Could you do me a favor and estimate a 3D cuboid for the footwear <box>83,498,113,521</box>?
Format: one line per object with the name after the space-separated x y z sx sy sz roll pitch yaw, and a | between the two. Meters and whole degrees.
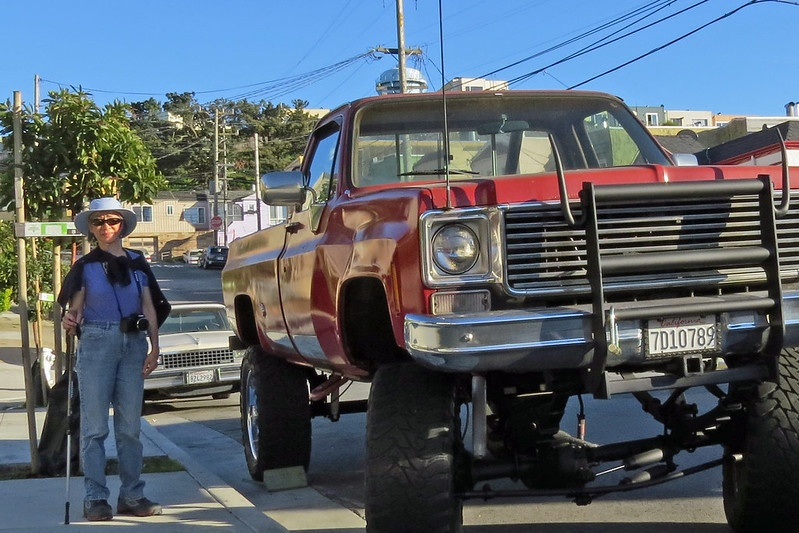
-2.443 1.985 7.654 0.120 0.129 0.290 2 3 -37 | footwear

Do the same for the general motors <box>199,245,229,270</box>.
-9.817 -0.494 49.746 1.405 1.190 2.973 0 4 -16 | general motors

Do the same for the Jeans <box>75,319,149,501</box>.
-2.347 1.190 7.758 0.564 1.435 0.306 -2 1 -17 | Jeans

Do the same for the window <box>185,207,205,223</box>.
-16.707 -4.310 76.771 1.339 0.956 0.123 2 -6 -28 | window

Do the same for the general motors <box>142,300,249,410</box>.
-3.037 1.259 14.186 1.307 1.054 2.318 0 -6 -18 | general motors

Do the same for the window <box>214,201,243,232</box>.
-12.262 -3.669 68.126 2.601 2.345 1.366 3 3 -4 | window

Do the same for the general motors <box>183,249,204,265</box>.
-13.588 -0.686 61.963 1.217 0.852 2.572 -1 6 -14 | general motors

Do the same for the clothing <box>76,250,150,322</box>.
-2.389 0.171 7.893 0.651 0.591 0.349 -1 3 -35 | clothing

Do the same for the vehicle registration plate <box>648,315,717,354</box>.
1.788 0.428 5.947 0.490 0.178 0.045 -2 1 -15 | vehicle registration plate

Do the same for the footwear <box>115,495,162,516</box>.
-2.166 1.992 7.857 0.353 0.145 0.146 1 -4 -3 | footwear

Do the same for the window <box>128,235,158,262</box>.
-13.112 -1.090 48.382 2.130 1.473 0.217 -1 -5 -43 | window

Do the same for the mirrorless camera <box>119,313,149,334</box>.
-2.174 0.436 7.750 0.216 0.146 0.147 1 -2 -43 | mirrorless camera

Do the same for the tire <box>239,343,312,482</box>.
-1.211 1.459 9.255 0.553 1.446 1.468 -2 1 -15 | tire
